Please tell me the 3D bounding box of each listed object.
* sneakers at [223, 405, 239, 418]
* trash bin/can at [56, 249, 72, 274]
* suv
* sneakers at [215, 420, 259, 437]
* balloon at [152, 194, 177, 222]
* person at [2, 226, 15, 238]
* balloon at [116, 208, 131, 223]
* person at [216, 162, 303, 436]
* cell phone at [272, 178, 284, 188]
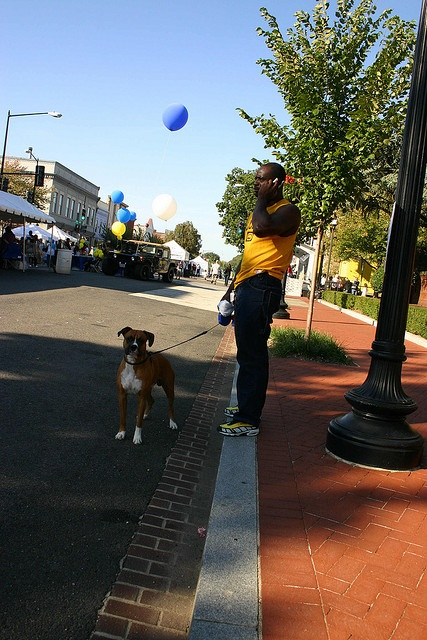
[{"bbox_3d":[0.235,0.967,4.270,0.236,0.115,0.081,8,-9,-27],"label":"sneakers"},{"bbox_3d":[-7.877,-3.166,22.408,0.769,1.447,1.081,5,-1,-23],"label":"trash bin/can"},{"bbox_3d":[-4.665,-4.095,29.039,2.640,2.290,4.750,8,3,15],"label":"suv"},{"bbox_3d":[0.244,1.019,3.870,0.376,0.188,0.141,8,-16,-6],"label":"sneakers"},{"bbox_3d":[-2.170,-5.407,19.567,0.975,1.248,0.870,5,-1,-6],"label":"balloon"},{"bbox_3d":[-9.595,-4.277,19.897,0.506,0.672,0.810,5,-1,-25],"label":"person"},{"bbox_3d":[-5.810,-7.195,28.065,0.935,1.014,1.128,14,13,32],"label":"balloon"},{"bbox_3d":[0.449,-0.141,3.730,0.535,2.433,0.742,5,0,-8],"label":"person"},{"bbox_3d":[0.577,-1.195,3.536,0.058,0.083,0.074,5,43,-6],"label":"cell phone"}]
